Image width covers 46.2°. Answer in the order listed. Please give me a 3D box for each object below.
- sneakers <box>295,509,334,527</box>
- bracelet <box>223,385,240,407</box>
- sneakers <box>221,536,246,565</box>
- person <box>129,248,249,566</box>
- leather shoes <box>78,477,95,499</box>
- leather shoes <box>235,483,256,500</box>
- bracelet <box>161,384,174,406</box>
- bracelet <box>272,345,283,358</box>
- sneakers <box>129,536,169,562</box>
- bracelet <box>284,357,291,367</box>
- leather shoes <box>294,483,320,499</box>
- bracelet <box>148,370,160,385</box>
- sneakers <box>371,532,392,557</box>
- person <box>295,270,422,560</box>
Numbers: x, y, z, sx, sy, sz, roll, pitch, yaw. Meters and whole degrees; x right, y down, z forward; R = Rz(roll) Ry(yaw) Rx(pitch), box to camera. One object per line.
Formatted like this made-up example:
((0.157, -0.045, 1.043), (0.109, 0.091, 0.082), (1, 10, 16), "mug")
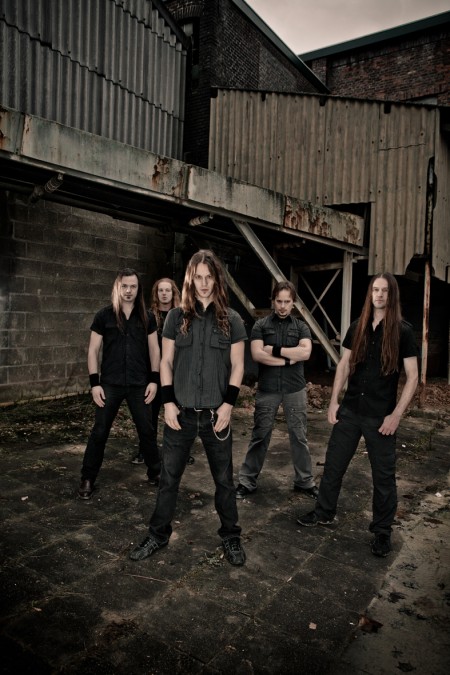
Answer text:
((0.603, 1.216, 3.572), (0.253, 0.135, 0.109), (4, -4, 3), "sneakers")
((0.032, 0.336, 3.017), (0.086, 0.118, 0.095), (2, 4, 0), "bracelet")
((0.056, 1.231, 3.027), (0.064, 0.087, 0.202), (1, 11, -9), "sneakers")
((-0.164, 0.385, 3.061), (0.631, 1.786, 0.318), (2, 4, -1), "person")
((-1.005, 1.101, 3.809), (0.110, 0.127, 0.126), (1, 4, -18), "leather shoes")
((0.156, 1.179, 4.019), (0.081, 0.102, 0.226), (-4, -19, 29), "leather shoes")
((-0.325, 0.344, 3.051), (0.085, 0.108, 0.085), (-2, -1, -36), "bracelet")
((0.403, 0.114, 4.025), (0.068, 0.078, 0.074), (4, -2, 9), "bracelet")
((-0.442, 1.202, 3.038), (0.077, 0.092, 0.219), (30, 9, 24), "sneakers")
((0.478, 0.192, 4.028), (0.051, 0.058, 0.051), (6, 9, 10), "bracelet")
((0.634, 1.203, 4.124), (0.222, 0.101, 0.085), (-5, -5, 43), "leather shoes")
((-0.534, 0.309, 3.995), (0.080, 0.140, 0.094), (3, -1, 14), "bracelet")
((0.962, 1.275, 3.214), (0.065, 0.077, 0.168), (0, -1, 11), "sneakers")
((0.913, 0.441, 3.424), (0.629, 1.717, 0.445), (5, 5, 39), "person")
